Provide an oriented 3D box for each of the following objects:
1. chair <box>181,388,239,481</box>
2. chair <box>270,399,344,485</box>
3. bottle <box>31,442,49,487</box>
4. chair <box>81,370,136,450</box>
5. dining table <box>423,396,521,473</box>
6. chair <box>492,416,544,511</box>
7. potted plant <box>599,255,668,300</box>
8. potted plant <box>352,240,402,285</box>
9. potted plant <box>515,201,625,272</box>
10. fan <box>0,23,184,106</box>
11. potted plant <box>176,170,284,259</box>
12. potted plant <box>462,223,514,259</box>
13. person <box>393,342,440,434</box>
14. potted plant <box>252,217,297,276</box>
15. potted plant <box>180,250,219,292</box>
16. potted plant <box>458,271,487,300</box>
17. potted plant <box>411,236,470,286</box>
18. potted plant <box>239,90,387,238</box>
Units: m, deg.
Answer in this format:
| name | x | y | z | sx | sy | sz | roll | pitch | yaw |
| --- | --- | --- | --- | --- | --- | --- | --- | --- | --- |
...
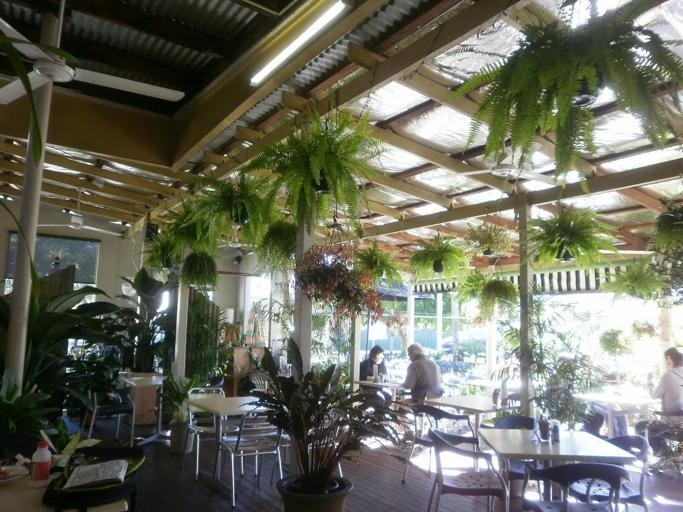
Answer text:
| name | x | y | z | sx | sy | sz | roll | pitch | yaw |
| --- | --- | --- | --- | --- | --- | --- | --- | --- | --- |
| chair | -1.647 | 2.367 | 6.793 | 0.618 | 1.091 | 0.696 | 1 | -9 | 43 |
| chair | -0.215 | 1.438 | 4.057 | 0.608 | 0.659 | 0.616 | -8 | -8 | 28 |
| bottle | -1.978 | 1.357 | 3.379 | 0.113 | 0.253 | 0.159 | 4 | -5 | -30 |
| chair | -3.241 | 2.261 | 7.632 | 0.533 | 1.007 | 0.569 | 4 | -23 | 12 |
| dining table | 1.655 | 2.184 | 6.634 | 0.935 | 0.911 | 0.943 | 3 | -8 | -11 |
| chair | 1.857 | 2.158 | 5.275 | 0.542 | 0.746 | 0.516 | 2 | 2 | 5 |
| potted plant | 3.865 | 0.195 | 6.701 | 0.656 | 0.510 | 0.698 | 14 | -14 | -5 |
| potted plant | 0.401 | 0.088 | 6.083 | 0.511 | 0.355 | 0.520 | 3 | -19 | 8 |
| potted plant | 2.473 | -0.226 | 5.650 | 0.738 | 0.529 | 0.720 | 6 | -11 | -27 |
| fan | -1.999 | -1.426 | 4.133 | 1.105 | 0.183 | 1.247 | 2 | -15 | -21 |
| potted plant | -1.155 | -0.454 | 5.287 | 1.020 | 0.667 | 1.009 | 9 | -17 | -38 |
| potted plant | 2.095 | -0.212 | 7.326 | 0.549 | 0.399 | 0.528 | 13 | -23 | -30 |
| person | 1.246 | 1.888 | 8.086 | 0.664 | 0.943 | 0.674 | 1 | -4 | -24 |
| potted plant | -0.647 | -0.104 | 4.844 | 0.433 | 0.331 | 0.441 | 3 | -6 | -13 |
| potted plant | -1.784 | 0.163 | 6.485 | 0.436 | 0.453 | 0.440 | -8 | 13 | -41 |
| potted plant | 2.148 | 0.487 | 8.316 | 0.432 | 0.451 | 0.445 | -2 | -4 | 26 |
| potted plant | 1.334 | 0.066 | 7.343 | 0.705 | 0.516 | 0.692 | 7 | -12 | -34 |
| potted plant | -0.095 | -0.750 | 4.084 | 0.739 | 0.621 | 0.767 | -1 | -7 | -23 |
